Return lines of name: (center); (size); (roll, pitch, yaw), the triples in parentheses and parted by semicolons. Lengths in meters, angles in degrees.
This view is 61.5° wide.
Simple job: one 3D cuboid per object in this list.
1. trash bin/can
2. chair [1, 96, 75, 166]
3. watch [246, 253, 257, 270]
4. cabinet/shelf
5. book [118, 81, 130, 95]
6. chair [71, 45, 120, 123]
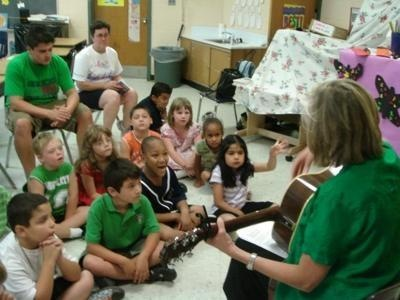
trash bin/can: (-0.662, -1.702, 6.773); (0.658, 0.767, 0.753); (11, 28, 8)
chair: (-1.598, -0.103, 3.260); (0.438, 0.837, 0.489); (-7, 11, -34)
watch: (0.184, 0.395, 1.205); (0.030, 0.055, 0.054); (7, 33, 19)
cabinet/shelf: (0.301, -1.650, 6.392); (0.583, 0.821, 1.708); (-12, 27, -28)
book: (-0.862, -0.725, 3.873); (0.129, 0.126, 0.031); (47, 44, -2)
chair: (-1.166, -0.983, 3.874); (0.579, 0.430, 0.254); (-12, 36, -35)
